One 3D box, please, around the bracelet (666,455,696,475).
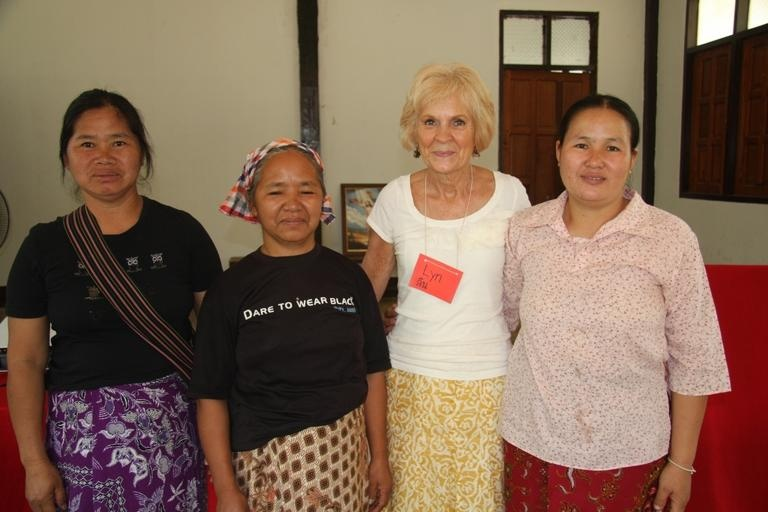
[{"bbox_3d":[1.210,0.855,2.497,0.108,0.043,0.096,30,6,21],"label":"bracelet"}]
